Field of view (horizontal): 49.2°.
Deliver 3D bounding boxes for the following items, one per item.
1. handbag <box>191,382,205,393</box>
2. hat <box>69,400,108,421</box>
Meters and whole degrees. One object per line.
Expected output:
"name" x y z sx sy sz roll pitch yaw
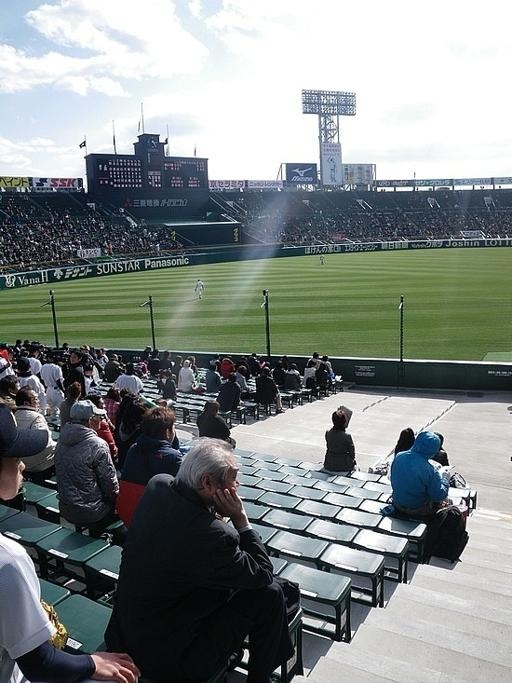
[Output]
"handbag" -1.394 1.067 13.225 0.237 0.066 0.229 8 16 17
"hat" -1.364 0.560 4.542 0.161 0.127 0.252 11 20 29
